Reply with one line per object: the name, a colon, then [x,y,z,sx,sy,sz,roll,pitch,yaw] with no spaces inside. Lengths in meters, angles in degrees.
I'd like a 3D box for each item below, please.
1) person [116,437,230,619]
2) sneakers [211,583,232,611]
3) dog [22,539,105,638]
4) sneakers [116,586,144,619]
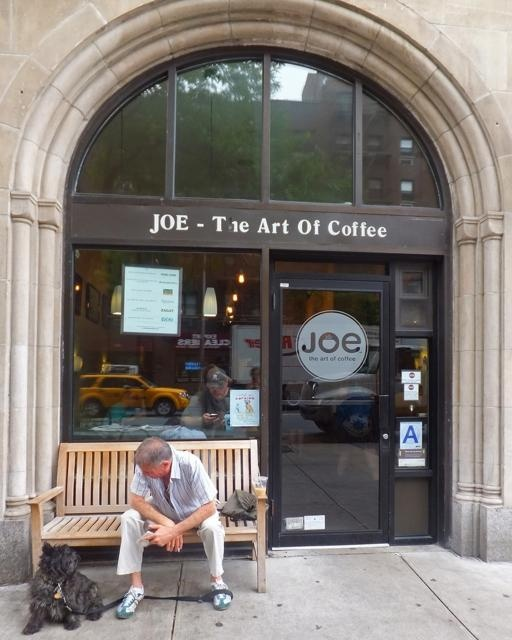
person: [-0.701,1.496,6.957,0.877,1.236,1.177,-1,-13,2]
sneakers: [-0.243,2.002,6.672,0.147,0.147,0.187,1,8,-2]
dog: [-1.332,1.852,6.334,0.441,0.661,0.610,1,-6,9]
sneakers: [-0.911,2.012,6.603,0.136,0.150,0.310,3,9,16]
